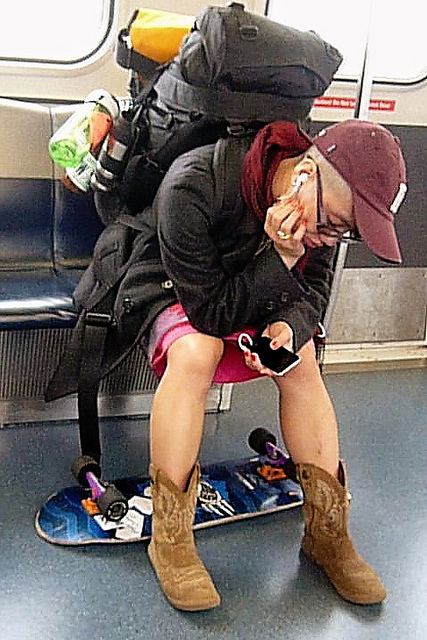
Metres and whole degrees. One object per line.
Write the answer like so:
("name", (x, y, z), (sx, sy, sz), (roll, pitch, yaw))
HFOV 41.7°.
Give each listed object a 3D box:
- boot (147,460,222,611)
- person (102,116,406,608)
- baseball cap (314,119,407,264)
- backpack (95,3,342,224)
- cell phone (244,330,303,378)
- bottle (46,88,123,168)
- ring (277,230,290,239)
("boot", (-0.067, 0.454, 1.200), (0.114, 0.240, 0.267), (2, 3, -24))
("person", (0.069, 0.048, 1.313), (0.686, 1.067, 0.558), (2, 10, -3))
("baseball cap", (0.292, -0.255, 1.088), (0.152, 0.280, 0.203), (-2, 11, -22))
("backpack", (-0.023, -0.506, 1.459), (0.632, 0.516, 0.314), (5, 10, 17))
("cell phone", (0.130, 0.074, 1.212), (0.126, 0.069, 0.022), (42, 0, 29))
("bottle", (-0.361, -0.484, 1.477), (0.084, 0.225, 0.131), (29, -16, 26))
("ring", (0.143, -0.174, 1.154), (0.017, 0.007, 0.018), (16, -14, 8))
